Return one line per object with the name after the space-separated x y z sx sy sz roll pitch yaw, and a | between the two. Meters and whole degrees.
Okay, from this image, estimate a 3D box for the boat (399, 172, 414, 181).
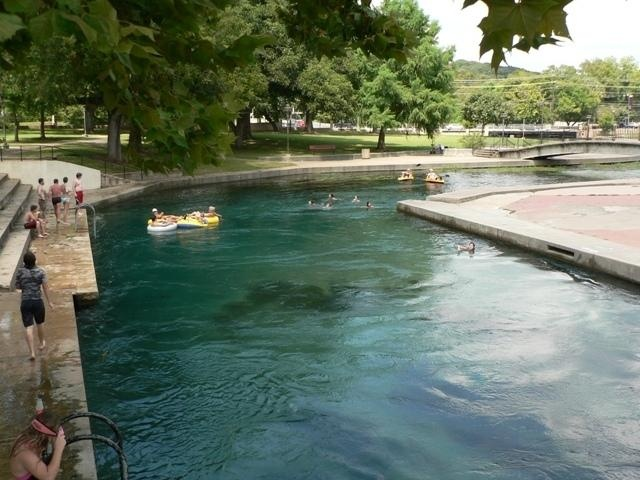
7.389 -5.330 40.708 1.076 0.633 1.868 0 0 42 | boat

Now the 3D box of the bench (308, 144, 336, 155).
0.205 -11.235 60.873 3.147 1.147 2.519 -5 8 -16 | bench

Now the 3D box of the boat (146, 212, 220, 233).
-6.789 -0.867 24.327 3.920 0.845 1.461 -9 10 -42 | boat

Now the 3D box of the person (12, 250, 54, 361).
-5.936 1.294 10.202 0.556 2.051 1.530 -10 10 -31 | person
